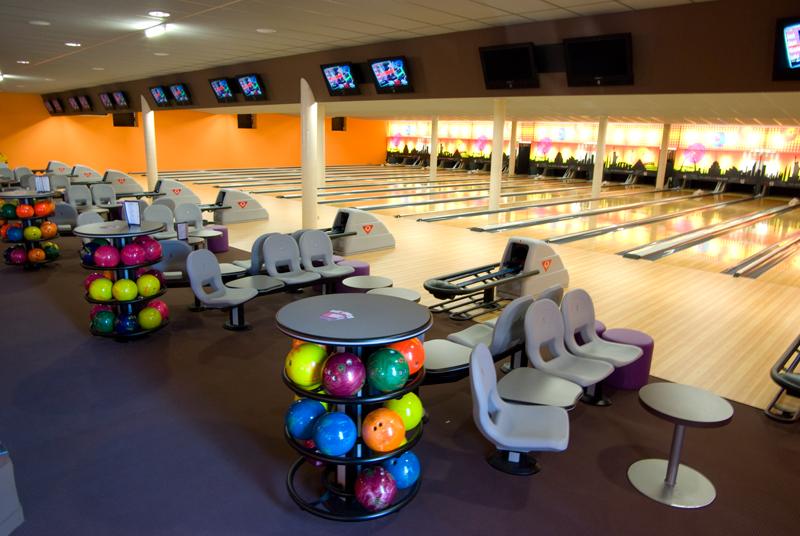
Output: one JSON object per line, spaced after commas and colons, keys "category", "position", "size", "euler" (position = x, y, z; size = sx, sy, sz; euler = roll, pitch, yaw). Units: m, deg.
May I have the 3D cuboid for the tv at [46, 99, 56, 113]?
{"category": "tv", "position": [-11.423, -5.279, 15.106], "size": [0.119, 0.480, 0.432], "euler": [-22, 53, -24]}

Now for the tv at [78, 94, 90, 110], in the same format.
{"category": "tv", "position": [-9.081, -4.795, 13.331], "size": [0.460, 0.409, 0.111], "euler": [10, 20, 24]}

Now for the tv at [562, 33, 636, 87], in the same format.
{"category": "tv", "position": [2.103, -2.198, 4.835], "size": [0.648, 0.446, 0.093], "euler": [9, 37, 37]}

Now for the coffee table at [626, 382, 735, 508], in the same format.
{"category": "coffee table", "position": [1.531, 0.975, 2.558], "size": [0.494, 0.504, 0.452], "euler": [0, 9, -14]}

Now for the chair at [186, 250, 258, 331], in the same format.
{"category": "chair", "position": [-1.615, 0.232, 4.186], "size": [0.646, 0.707, 0.585], "euler": [6, 13, 12]}

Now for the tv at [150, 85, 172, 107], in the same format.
{"category": "tv", "position": [-5.477, -3.982, 10.606], "size": [0.522, 0.365, 0.089], "euler": [21, 41, 32]}

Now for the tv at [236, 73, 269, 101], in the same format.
{"category": "tv", "position": [-2.729, -3.389, 8.584], "size": [0.535, 0.494, 0.289], "euler": [14, 31, 35]}

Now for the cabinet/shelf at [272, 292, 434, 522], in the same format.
{"category": "cabinet/shelf", "position": [-0.250, 0.714, 2.485], "size": [0.754, 0.993, 0.817], "euler": [16, 26, 42]}

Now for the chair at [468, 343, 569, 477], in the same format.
{"category": "chair", "position": [0.650, 0.772, 2.493], "size": [0.542, 0.613, 0.473], "euler": [3, 9, 18]}

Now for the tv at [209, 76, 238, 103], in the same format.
{"category": "tv", "position": [-3.466, -3.539, 9.106], "size": [0.566, 0.475, 0.099], "euler": [22, 42, 29]}

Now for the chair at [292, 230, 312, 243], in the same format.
{"category": "chair", "position": [-1.071, -0.367, 5.004], "size": [0.179, 0.183, 0.220], "euler": [-2, -7, -15]}

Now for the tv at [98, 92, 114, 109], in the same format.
{"category": "tv", "position": [-7.938, -4.558, 12.496], "size": [0.458, 0.380, 0.150], "euler": [26, 49, 37]}

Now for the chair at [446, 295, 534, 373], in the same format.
{"category": "chair", "position": [0.647, 0.322, 3.277], "size": [0.469, 0.553, 0.860], "euler": [9, 12, 34]}

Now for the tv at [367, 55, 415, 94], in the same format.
{"category": "tv", "position": [-0.102, -2.730, 6.452], "size": [0.602, 0.434, 0.082], "euler": [10, 36, 36]}

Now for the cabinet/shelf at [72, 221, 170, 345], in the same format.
{"category": "cabinet/shelf", "position": [-2.344, 0.091, 3.930], "size": [0.649, 0.921, 0.584], "euler": [4, 20, 17]}

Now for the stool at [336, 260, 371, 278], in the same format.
{"category": "stool", "position": [-0.482, -0.018, 5.030], "size": [0.230, 0.135, 0.234], "euler": [11, 15, 41]}

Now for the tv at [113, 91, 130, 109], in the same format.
{"category": "tv", "position": [-7.150, -4.367, 11.885], "size": [0.412, 0.393, 0.220], "euler": [15, 40, 29]}

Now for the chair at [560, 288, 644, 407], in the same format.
{"category": "chair", "position": [1.379, 0.521, 3.193], "size": [0.470, 0.603, 0.534], "euler": [-5, 16, -28]}

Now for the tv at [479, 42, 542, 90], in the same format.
{"category": "tv", "position": [1.320, -2.400, 5.428], "size": [0.660, 0.469, 0.094], "euler": [10, 38, 38]}

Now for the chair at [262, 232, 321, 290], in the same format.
{"category": "chair", "position": [-1.119, -0.085, 4.479], "size": [0.595, 0.508, 0.516], "euler": [16, 18, 41]}

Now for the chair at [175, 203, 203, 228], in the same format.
{"category": "chair", "position": [-2.833, -0.704, 6.170], "size": [0.315, 0.328, 0.471], "euler": [-11, 20, -24]}

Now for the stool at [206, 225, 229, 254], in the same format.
{"category": "stool", "position": [-2.526, -0.403, 6.426], "size": [0.382, 0.398, 0.379], "euler": [-5, 13, -32]}

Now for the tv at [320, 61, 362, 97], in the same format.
{"category": "tv", "position": [-0.875, -2.895, 7.004], "size": [0.628, 0.432, 0.088], "euler": [12, 35, 40]}
